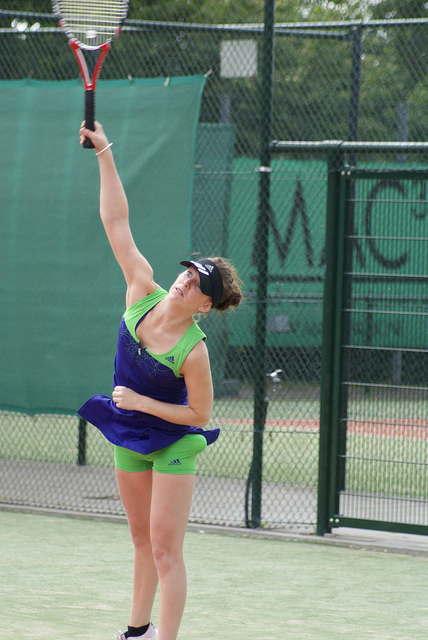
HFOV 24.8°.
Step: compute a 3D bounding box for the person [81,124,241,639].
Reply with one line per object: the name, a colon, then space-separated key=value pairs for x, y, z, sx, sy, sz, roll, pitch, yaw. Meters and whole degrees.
person: x=-0.213 y=0.255 z=3.453 sx=0.538 sy=1.856 sz=0.383 roll=7 pitch=7 yaw=36
